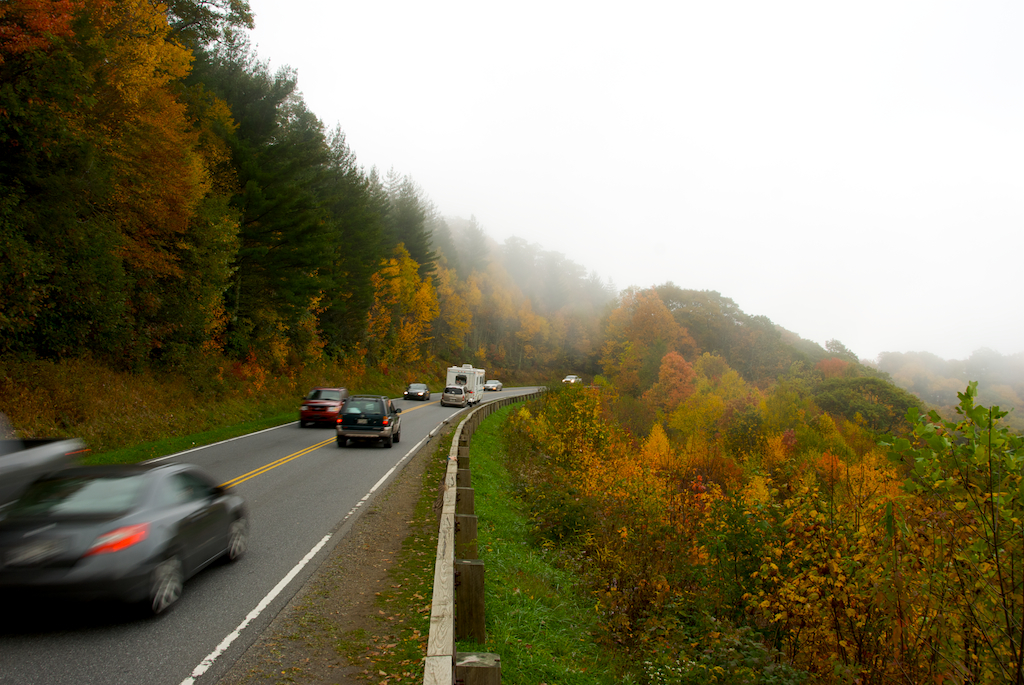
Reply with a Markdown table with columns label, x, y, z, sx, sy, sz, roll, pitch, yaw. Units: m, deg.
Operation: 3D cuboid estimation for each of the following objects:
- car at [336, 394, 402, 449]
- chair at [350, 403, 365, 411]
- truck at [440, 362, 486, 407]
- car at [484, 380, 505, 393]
| label | x | y | z | sx | sy | sz | roll | pitch | yaw |
| --- | --- | --- | --- | --- | --- | --- | --- | --- | --- |
| car | -5.234 | 2.857 | 30.738 | 1.435 | 1.202 | 2.600 | 1 | 1 | 3 |
| chair | -5.724 | 2.370 | 29.742 | 0.441 | 0.217 | 0.289 | 0 | 3 | 2 |
| truck | -3.416 | 2.884 | 53.423 | 1.333 | 1.797 | 4.828 | 1 | 2 | 9 |
| car | -1.983 | 4.545 | 83.893 | 1.282 | 1.032 | 2.792 | -2 | -7 | 8 |
